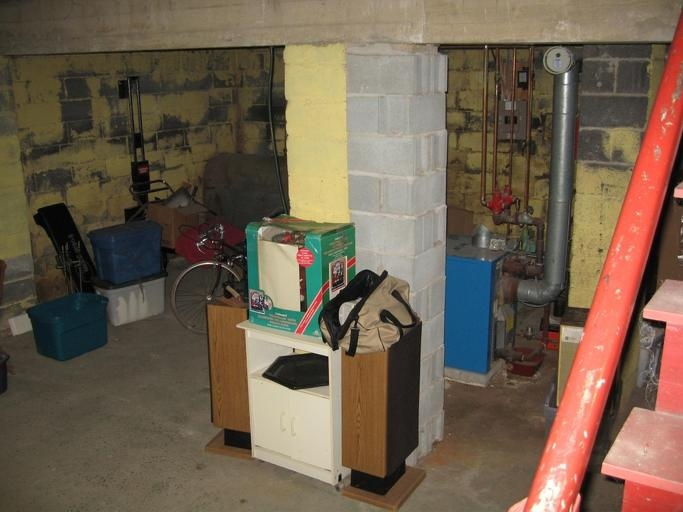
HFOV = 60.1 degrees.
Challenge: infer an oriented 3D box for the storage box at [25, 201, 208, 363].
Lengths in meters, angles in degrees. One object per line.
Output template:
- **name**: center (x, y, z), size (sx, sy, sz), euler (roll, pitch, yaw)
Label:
- **storage box**: center (-2.840, 0.169, 6.963), size (1.435, 1.349, 1.866), euler (-7, 18, -18)

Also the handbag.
- **handbag**: center (0.116, 0.387, 4.083), size (0.697, 0.328, 0.774), euler (-16, 19, 7)

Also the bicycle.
- **bicycle**: center (-1.540, 0.193, 7.519), size (0.930, 1.217, 1.974), euler (20, 9, 8)

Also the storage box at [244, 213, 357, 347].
- **storage box**: center (-0.269, 0.184, 4.069), size (0.752, 0.831, 0.452), euler (10, 19, 29)
